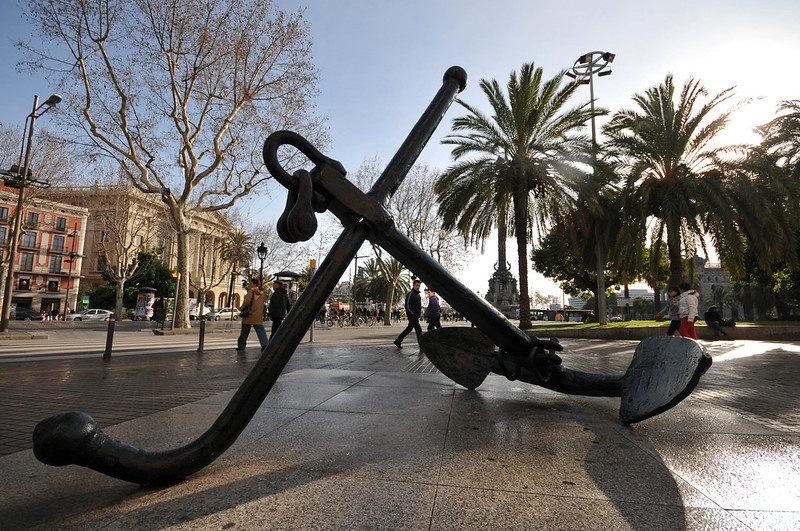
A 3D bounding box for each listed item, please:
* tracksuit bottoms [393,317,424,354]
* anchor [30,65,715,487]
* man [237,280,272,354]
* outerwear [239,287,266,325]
[{"bbox_3d":[0.358,1.686,13.260,0.949,1.208,0.657,2,-25,9],"label":"tracksuit bottoms"},{"bbox_3d":[-0.013,-0.092,4.736,5.274,3.673,1.744,0,-3,-9],"label":"anchor"},{"bbox_3d":[-3.424,1.121,11.551,0.825,1.700,0.641,-1,-13,8],"label":"man"},{"bbox_3d":[-3.547,1.109,11.784,0.698,1.173,0.933,-1,-22,-21],"label":"outerwear"}]
